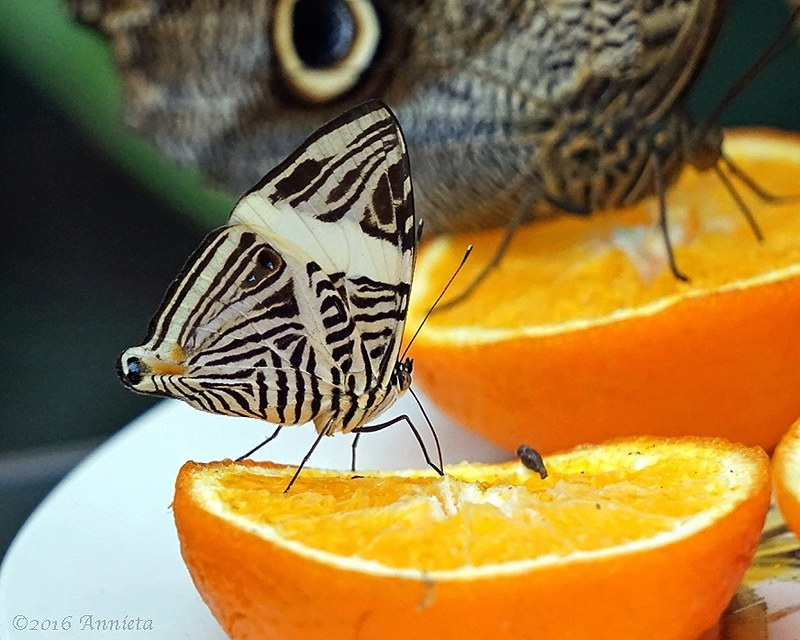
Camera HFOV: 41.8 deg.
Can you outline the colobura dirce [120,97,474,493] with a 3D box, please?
[{"bbox_3d":[-0.088,-0.034,0.913,0.388,0.345,0.225,0,-4,-10],"label":"colobura dirce"}]
